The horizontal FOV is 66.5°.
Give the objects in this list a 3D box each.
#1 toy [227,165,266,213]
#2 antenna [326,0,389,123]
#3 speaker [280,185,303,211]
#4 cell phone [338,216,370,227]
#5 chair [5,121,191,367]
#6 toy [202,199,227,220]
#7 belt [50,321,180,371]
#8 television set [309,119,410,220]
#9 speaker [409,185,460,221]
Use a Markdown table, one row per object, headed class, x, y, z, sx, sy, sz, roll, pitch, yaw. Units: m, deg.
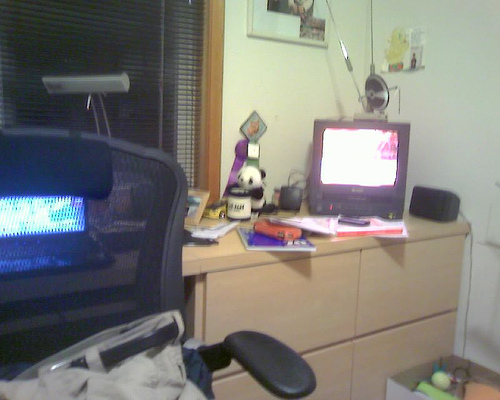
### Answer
| class | x | y | z | sx | sy | sz | roll | pitch | yaw |
| --- | --- | --- | --- | --- | --- | --- | --- | --- | --- |
| toy | 0.014 | -0.048 | 1.727 | 0.145 | 0.219 | 0.115 | -5 | 14 | -21 |
| antenna | 0.534 | -0.724 | 1.895 | 0.315 | 0.638 | 0.613 | 5 | 14 | 17 |
| speaker | 0.191 | -0.006 | 1.820 | 0.105 | 0.127 | 0.068 | 6 | -16 | 10 |
| cell phone | 0.426 | 0.088 | 1.573 | 0.127 | 0.016 | 0.076 | 9 | 16 | 30 |
| chair | -0.352 | 0.027 | 1.102 | 0.449 | 0.645 | 0.469 | -4 | 18 | -41 |
| toy | -0.157 | 0.035 | 1.704 | 0.075 | 0.037 | 0.088 | -20 | 21 | -26 |
| belt | -0.285 | 0.329 | 0.841 | 0.270 | 0.038 | 0.040 | -7 | 16 | -29 |
| television set | 0.508 | -0.170 | 1.813 | 0.429 | 0.453 | 0.255 | 4 | 20 | 16 |
| speaker | 0.873 | 0.000 | 1.805 | 0.111 | 0.171 | 0.217 | 3 | 9 | -23 |
